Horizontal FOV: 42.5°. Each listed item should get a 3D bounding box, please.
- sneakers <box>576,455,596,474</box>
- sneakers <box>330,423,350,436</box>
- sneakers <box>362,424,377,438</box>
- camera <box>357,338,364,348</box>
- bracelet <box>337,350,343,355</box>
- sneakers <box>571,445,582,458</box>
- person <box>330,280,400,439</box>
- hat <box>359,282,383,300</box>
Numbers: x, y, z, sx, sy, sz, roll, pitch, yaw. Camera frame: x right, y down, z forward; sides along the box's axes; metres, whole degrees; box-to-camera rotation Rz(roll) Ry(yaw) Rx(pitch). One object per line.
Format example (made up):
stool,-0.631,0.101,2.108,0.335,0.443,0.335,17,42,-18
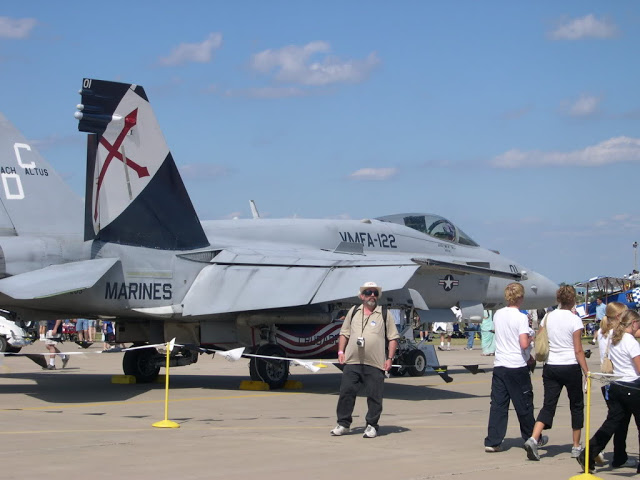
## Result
sneakers,3.316,2.764,10.172,0.143,0.170,0.398,-20,-55,30
sneakers,0.318,2.772,12.034,0.135,0.122,0.347,-8,-14,39
sneakers,0.744,2.768,11.915,0.226,0.155,0.425,1,-10,3
camera,0.619,1.497,12.068,0.104,0.127,0.050,2,-6,-1
bracelet,0.319,1.676,12.187,0.093,0.028,0.091,-1,1,2
sneakers,3.326,2.748,10.643,0.150,0.141,0.406,-1,-4,23
person,0.682,1.744,12.148,0.945,2.237,0.533,1,-6,3
hat,0.776,0.720,12.444,0.388,0.122,0.391,1,-17,0
